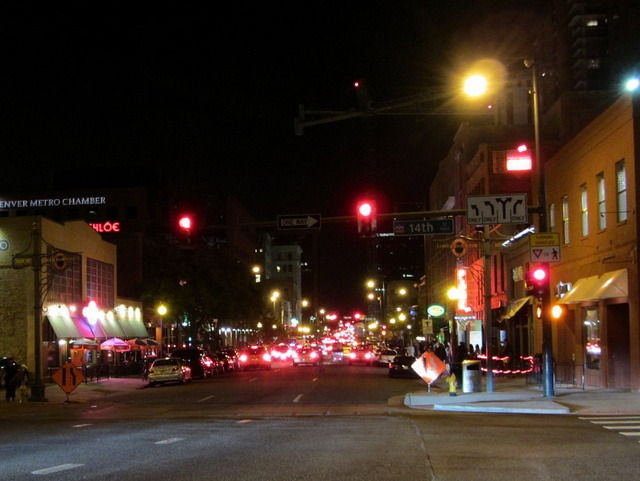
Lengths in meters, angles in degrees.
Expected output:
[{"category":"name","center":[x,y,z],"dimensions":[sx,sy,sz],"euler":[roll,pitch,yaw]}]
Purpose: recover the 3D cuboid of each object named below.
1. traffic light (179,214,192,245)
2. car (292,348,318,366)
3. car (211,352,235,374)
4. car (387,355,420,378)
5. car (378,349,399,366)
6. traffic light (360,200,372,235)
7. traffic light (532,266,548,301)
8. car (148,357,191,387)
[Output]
[{"category":"traffic light","center":[-5.326,-0.423,27.962],"dimensions":[0.574,1.050,0.760],"euler":[-5,-12,5]},{"category":"car","center":[-1.315,10.848,65.793],"dimensions":[2.094,1.821,2.567],"euler":[-3,-13,-6]},{"category":"car","center":[-7.769,9.703,55.670],"dimensions":[1.092,1.008,2.643],"euler":[0,-22,-1]},{"category":"car","center":[5.390,8.284,45.984],"dimensions":[1.807,1.616,1.582],"euler":[-6,-13,5]},{"category":"car","center":[5.616,9.907,59.346],"dimensions":[1.139,0.997,2.130],"euler":[0,-2,7]},{"category":"traffic light","center":[1.772,-0.922,27.615],"dimensions":[0.624,1.262,0.364],"euler":[-5,-11,4]},{"category":"traffic light","center":[8.592,1.618,27.277],"dimensions":[0.632,1.340,0.390],"euler":[-5,-11,6]},{"category":"car","center":[-9.152,7.854,42.409],"dimensions":[2.456,1.712,1.365],"euler":[2,-14,-26]}]
